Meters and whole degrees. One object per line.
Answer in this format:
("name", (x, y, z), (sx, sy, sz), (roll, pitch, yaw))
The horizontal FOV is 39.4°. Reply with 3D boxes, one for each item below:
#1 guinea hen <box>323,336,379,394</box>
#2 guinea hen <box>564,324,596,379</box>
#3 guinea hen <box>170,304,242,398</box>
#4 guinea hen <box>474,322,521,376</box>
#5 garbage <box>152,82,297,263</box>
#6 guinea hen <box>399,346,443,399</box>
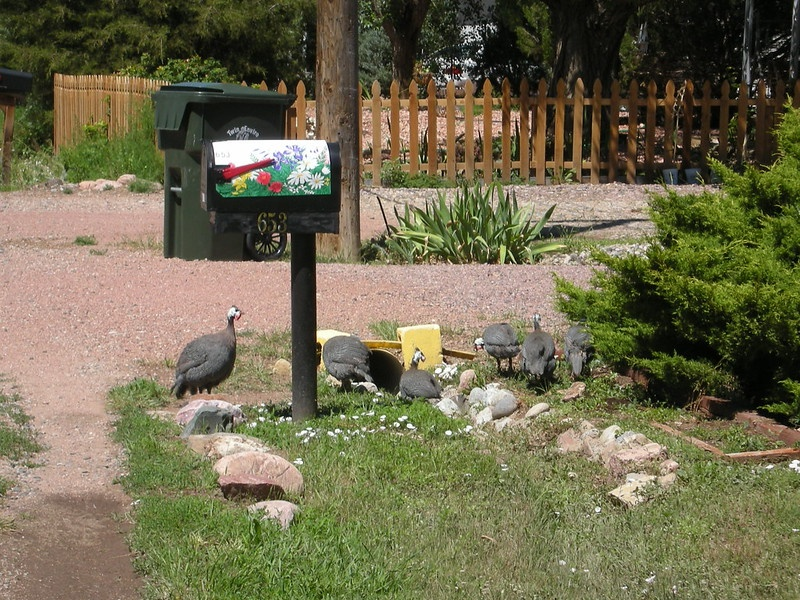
("guinea hen", (-0.466, 0.557, 9.262), (0.557, 0.548, 0.370), (-5, -6, 31))
("guinea hen", (1.474, 0.398, 9.312), (0.198, 0.378, 0.541), (7, 31, 4))
("guinea hen", (-1.543, 0.421, 8.800), (0.480, 0.797, 0.352), (7, 10, -18))
("guinea hen", (0.839, 0.423, 9.558), (0.373, 0.452, 0.467), (2, 11, 5))
("garbage", (-1.998, -1.485, 12.137), (1.350, 2.078, 1.576), (14, 24, 18))
("guinea hen", (0.195, 0.655, 9.113), (0.325, 0.599, 0.306), (-8, -19, 26))
